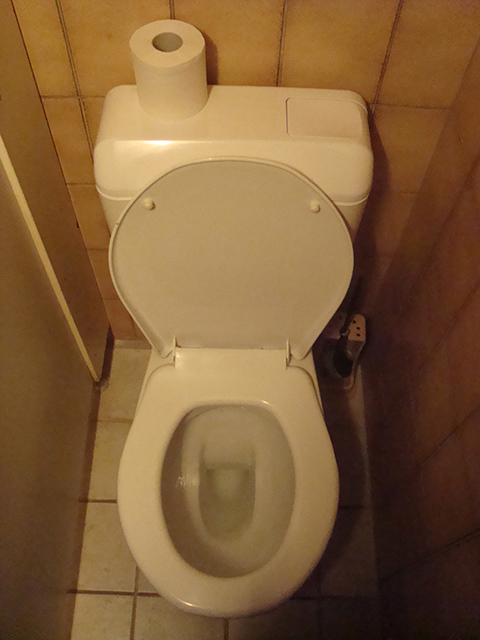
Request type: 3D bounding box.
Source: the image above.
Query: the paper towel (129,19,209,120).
[{"bbox_3d":[-0.092,-0.372,0.954,0.114,0.128,0.135,5,60,2],"label":"paper towel"}]
